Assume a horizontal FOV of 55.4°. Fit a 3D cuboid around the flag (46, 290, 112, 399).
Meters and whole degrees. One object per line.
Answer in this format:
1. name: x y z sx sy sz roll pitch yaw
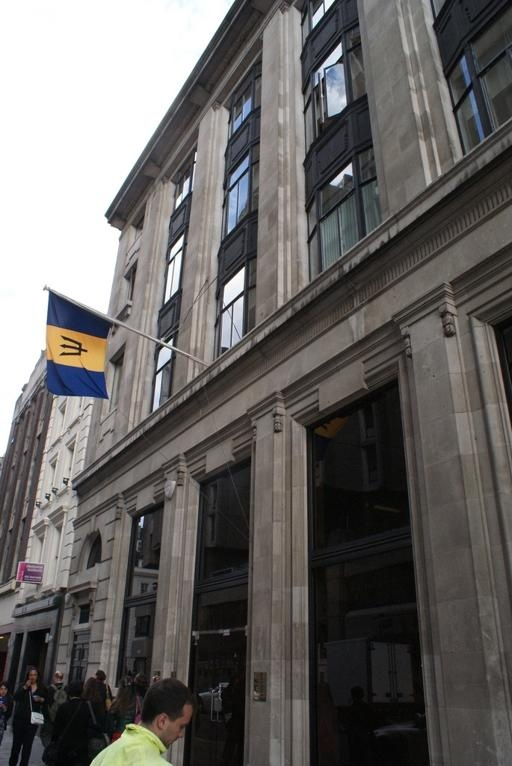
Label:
1. flag: -4.915 -1.088 13.549 1.798 0.233 3.860 -3 -51 -26
